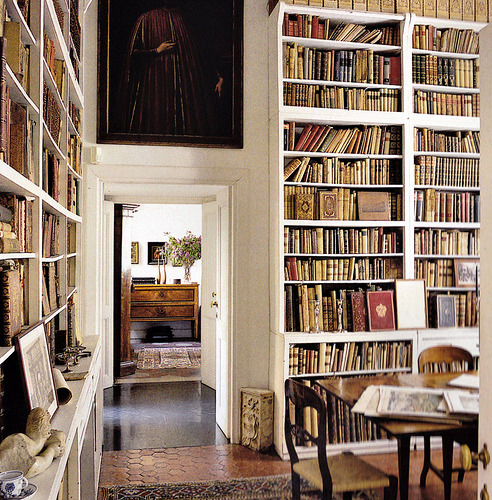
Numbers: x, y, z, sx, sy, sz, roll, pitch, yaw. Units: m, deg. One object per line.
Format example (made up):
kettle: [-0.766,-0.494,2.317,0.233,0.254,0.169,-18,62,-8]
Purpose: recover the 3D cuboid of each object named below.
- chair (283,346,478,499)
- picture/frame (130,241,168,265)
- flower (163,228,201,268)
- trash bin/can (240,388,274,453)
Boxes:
chair: [0.955,1.171,3.394,0.795,0.668,1.796,0,1,33]
picture/frame: [-1.796,0.058,9.703,0.647,0.405,0.068,0,0,-7]
flower: [-1.176,0.097,9.845,0.498,0.722,0.547,1,-11,-9]
trash bin/can: [0.079,1.401,4.419,0.243,0.516,0.149,6,9,42]
